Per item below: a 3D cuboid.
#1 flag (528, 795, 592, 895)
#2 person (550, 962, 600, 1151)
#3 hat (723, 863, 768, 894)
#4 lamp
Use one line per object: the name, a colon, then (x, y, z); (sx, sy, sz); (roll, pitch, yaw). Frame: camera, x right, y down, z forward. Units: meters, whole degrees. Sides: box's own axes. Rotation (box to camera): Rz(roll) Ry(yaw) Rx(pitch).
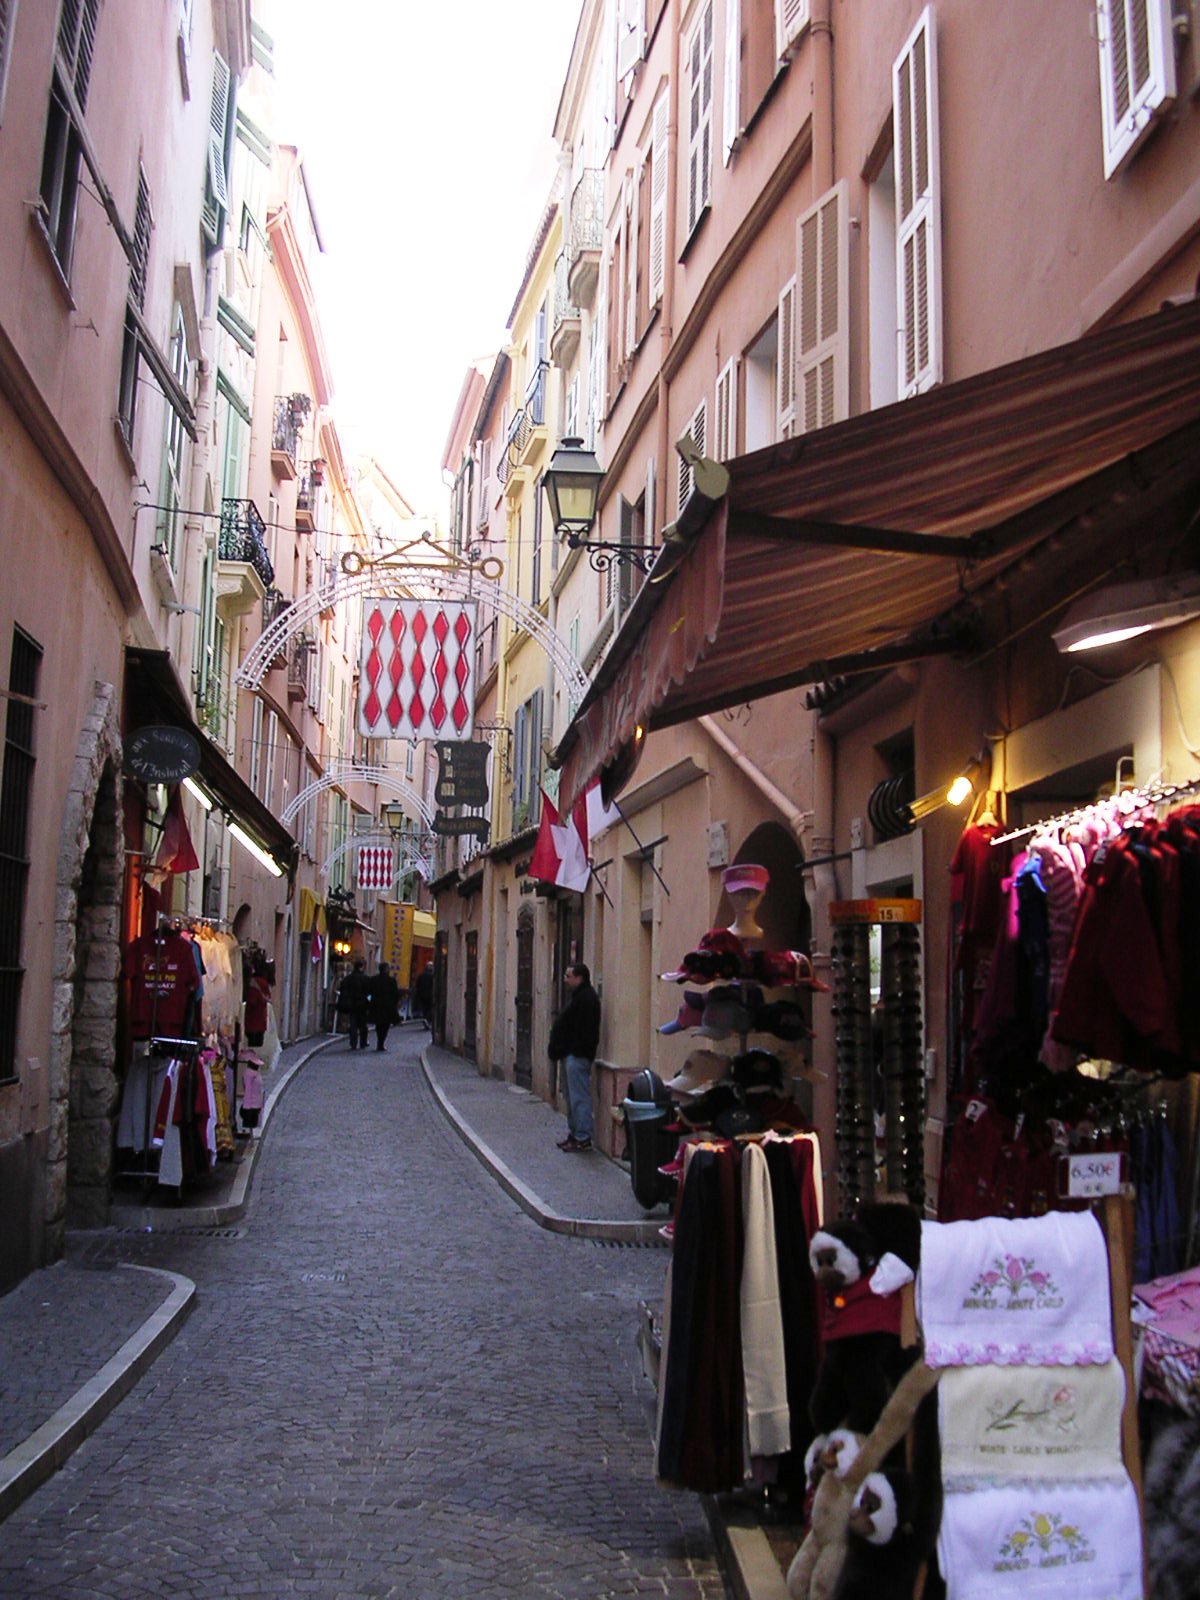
flag: (-0.340, 0.389, 12.777); (0.610, 0.191, 1.797); (-2, 37, 4)
person: (-0.263, 3.052, 14.759); (0.594, 1.792, 1.242); (-4, -2, 0)
hat: (0.591, 0.327, 4.972); (0.152, 0.103, 0.325); (-7, -2, 4)
lamp: (0.030, -2.190, 9.586); (0.775, 1.409, 0.437); (0, -37, -4)
